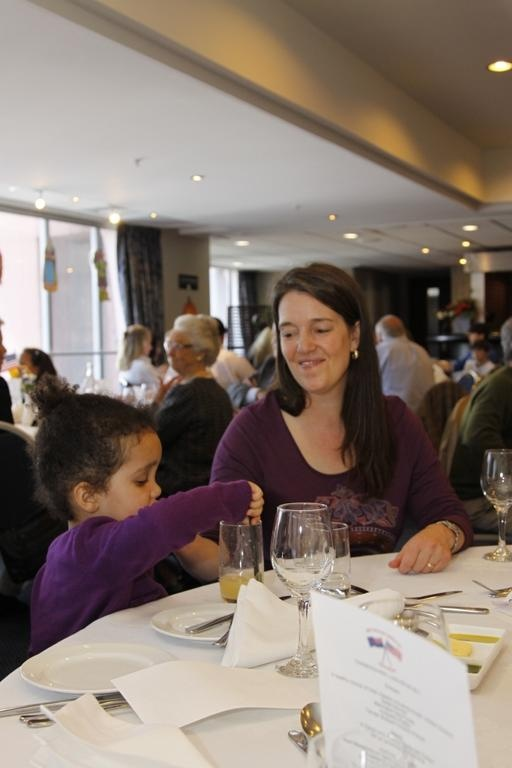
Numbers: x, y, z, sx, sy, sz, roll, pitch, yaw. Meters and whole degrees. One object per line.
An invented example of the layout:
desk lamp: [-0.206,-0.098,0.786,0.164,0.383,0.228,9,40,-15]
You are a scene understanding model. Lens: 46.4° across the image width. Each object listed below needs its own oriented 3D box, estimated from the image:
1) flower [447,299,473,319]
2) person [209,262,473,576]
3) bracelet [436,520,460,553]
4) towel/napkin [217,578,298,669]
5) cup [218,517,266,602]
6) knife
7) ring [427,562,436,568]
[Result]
flower: [3.669,-1.337,10.675,0.325,0.182,0.319,-4,9,23]
person: [0.185,0.093,1.590,0.725,0.761,0.504,-3,-2,5]
bracelet: [0.439,0.344,1.355,0.016,0.053,0.056,-20,36,-7]
towel/napkin: [0.011,0.311,0.776,0.082,0.029,0.078,15,33,-8]
cup: [-0.028,0.305,1.028,0.081,0.126,0.078,-2,-5,0]
knife: [-0.023,0.333,0.858,0.176,0.018,0.018,-21,37,18]
ring: [0.342,0.356,1.172,0.009,0.008,0.009,6,-4,0]
